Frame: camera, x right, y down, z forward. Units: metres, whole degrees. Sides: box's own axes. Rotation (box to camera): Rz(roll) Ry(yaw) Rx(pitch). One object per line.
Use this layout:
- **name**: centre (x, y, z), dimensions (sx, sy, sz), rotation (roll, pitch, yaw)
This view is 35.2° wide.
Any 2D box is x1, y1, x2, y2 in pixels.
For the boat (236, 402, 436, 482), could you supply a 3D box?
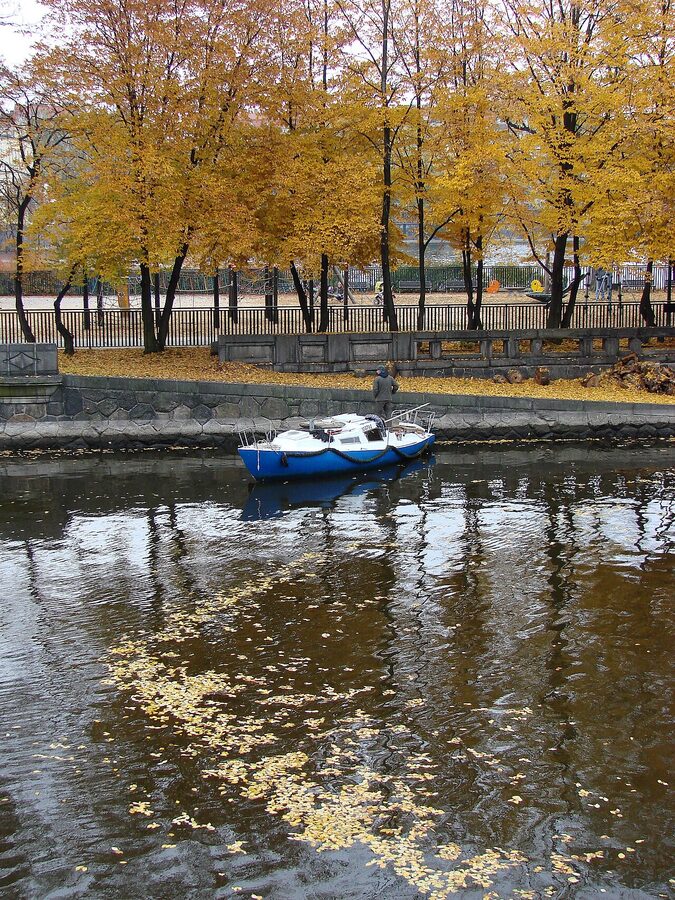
- **boat**: centre (0.082, -0.087, 23.778), dimensions (4.827, 1.183, 1.743), rotation (-11, 10, -41)
